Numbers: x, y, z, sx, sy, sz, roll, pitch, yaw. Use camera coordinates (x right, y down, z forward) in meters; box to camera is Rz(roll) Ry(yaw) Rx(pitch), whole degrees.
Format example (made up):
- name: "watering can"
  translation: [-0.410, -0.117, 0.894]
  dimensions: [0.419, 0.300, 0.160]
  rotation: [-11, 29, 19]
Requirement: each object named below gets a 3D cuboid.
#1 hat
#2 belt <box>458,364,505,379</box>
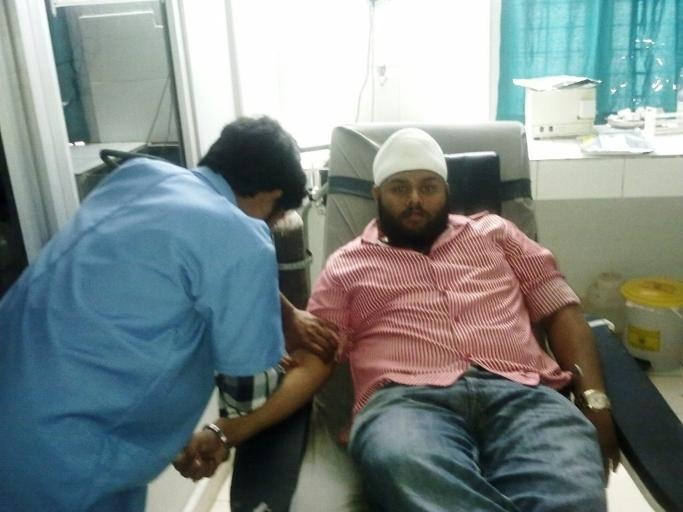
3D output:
- name: "hat"
  translation: [0.232, -0.338, 2.052]
  dimensions: [0.258, 0.216, 0.280]
  rotation: [-2, -1, 7]
- name: "belt"
  translation: [0.389, 0.319, 1.666]
  dimensions: [0.127, 0.029, 0.036]
  rotation: [-3, 18, 2]
